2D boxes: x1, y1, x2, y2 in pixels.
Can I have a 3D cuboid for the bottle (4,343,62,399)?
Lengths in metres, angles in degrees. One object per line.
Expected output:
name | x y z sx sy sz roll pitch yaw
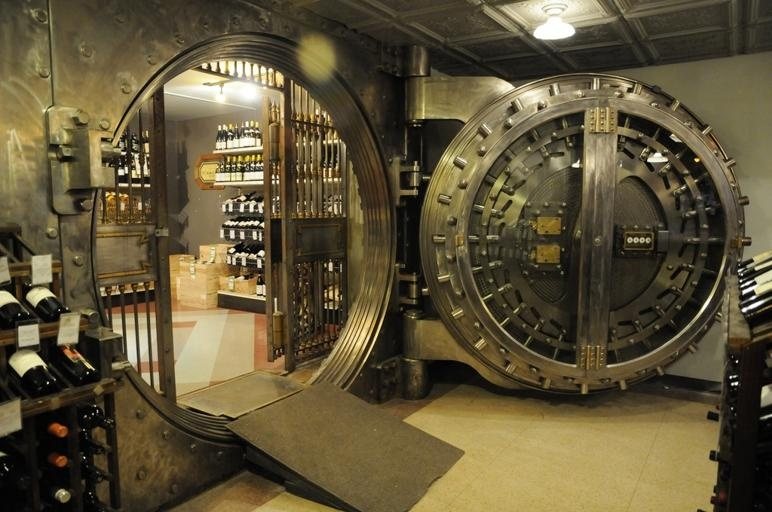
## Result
bottle | -1.663 0.553 2.562 0.140 0.106 0.280 8 16 -44

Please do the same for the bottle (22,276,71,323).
bottle | -1.711 0.225 2.718 0.127 0.128 0.474 12 0 -31

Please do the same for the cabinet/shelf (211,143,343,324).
cabinet/shelf | -1.275 -0.593 6.218 1.167 2.130 0.697 25 30 34
